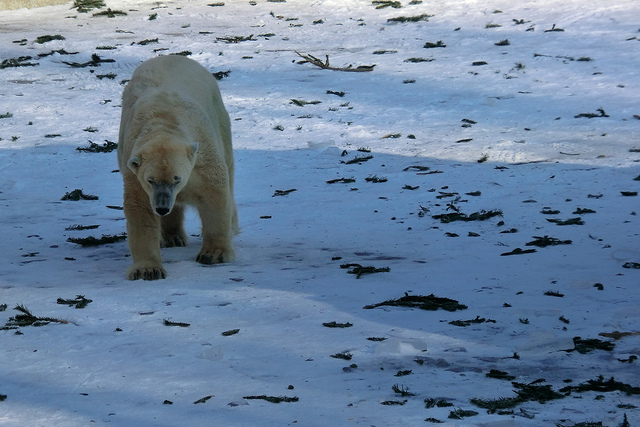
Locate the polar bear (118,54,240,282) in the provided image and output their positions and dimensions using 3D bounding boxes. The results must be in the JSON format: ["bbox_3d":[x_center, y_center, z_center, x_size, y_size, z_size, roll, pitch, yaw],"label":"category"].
[{"bbox_3d":[-2.010,-0.702,11.393,1.592,2.994,2.257,-5,18,-4],"label":"polar bear"}]
